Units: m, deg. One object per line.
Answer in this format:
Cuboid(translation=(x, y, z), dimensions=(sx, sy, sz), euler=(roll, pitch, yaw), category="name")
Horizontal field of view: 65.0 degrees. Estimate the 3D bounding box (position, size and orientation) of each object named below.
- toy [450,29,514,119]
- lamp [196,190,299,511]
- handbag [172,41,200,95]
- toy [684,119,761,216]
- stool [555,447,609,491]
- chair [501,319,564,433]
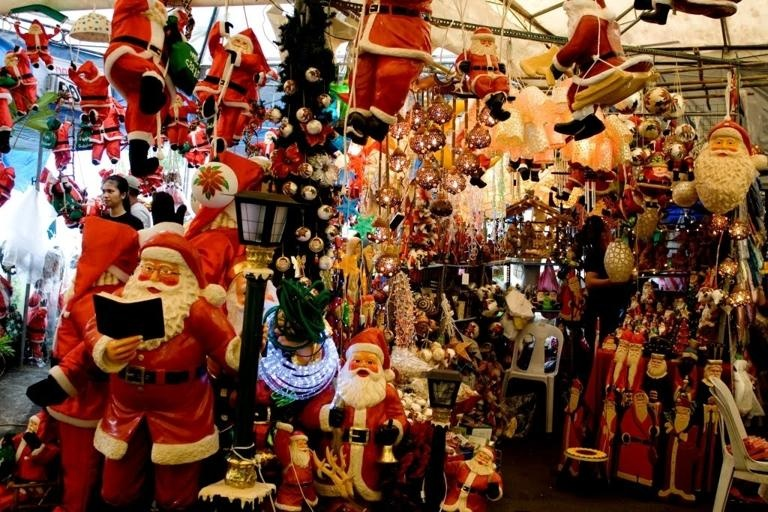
Cuboid(translation=(0.774, -1.418, 4.665), dimensions=(0.450, 0.792, 0.314), euler=(3, -4, 25), category="toy")
Cuboid(translation=(-0.778, 0.529, 3.459), dimensions=(0.407, 1.771, 0.467), euler=(5, -4, -9), category="lamp")
Cuboid(translation=(-1.350, -1.253, 4.037), dimensions=(0.122, 0.245, 0.338), euler=(2, -39, 5), category="handbag")
Cuboid(translation=(2.684, -0.727, 4.723), dimensions=(0.442, 0.760, 0.241), euler=(5, -4, -7), category="toy")
Cuboid(translation=(1.950, 2.013, 5.751), dimensions=(0.417, 0.259, 0.416), euler=(13, -23, -2), category="stool")
Cuboid(translation=(1.797, 1.437, 7.239), dimensions=(0.618, 1.315, 1.076), euler=(3, -4, 19), category="chair")
